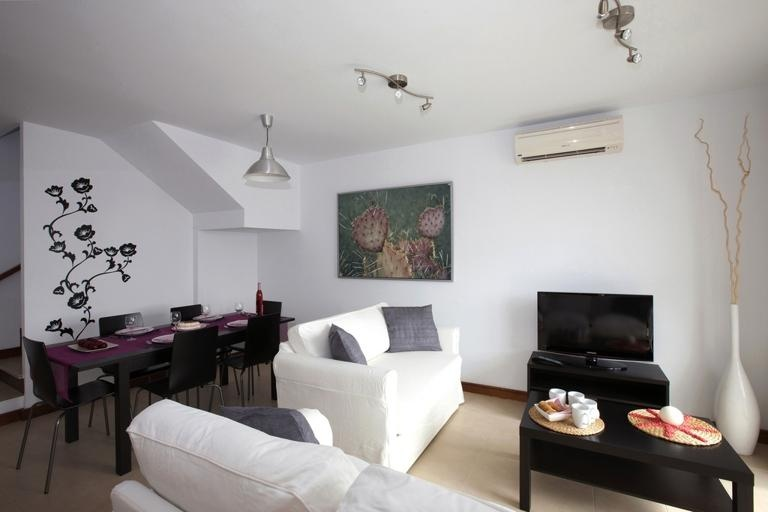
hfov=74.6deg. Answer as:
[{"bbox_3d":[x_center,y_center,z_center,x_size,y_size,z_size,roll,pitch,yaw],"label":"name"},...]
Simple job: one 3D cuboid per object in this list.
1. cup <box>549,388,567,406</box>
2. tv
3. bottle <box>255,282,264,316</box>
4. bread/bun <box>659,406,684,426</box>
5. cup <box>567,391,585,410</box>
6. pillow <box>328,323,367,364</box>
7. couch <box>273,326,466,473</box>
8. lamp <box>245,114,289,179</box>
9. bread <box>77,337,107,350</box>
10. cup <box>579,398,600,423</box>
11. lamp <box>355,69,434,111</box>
[{"bbox_3d":[1.435,1.193,4.236,0.098,0.110,0.150,1,1,-28],"label":"cup"},{"bbox_3d":[2.126,0.756,4.989,0.826,0.476,0.063,-1,-4,20],"label":"tv"},{"bbox_3d":[-1.429,0.499,5.751,0.061,0.341,0.195,-1,-2,-19],"label":"bottle"},{"bbox_3d":[2.282,1.262,4.004,0.129,0.096,0.163,2,1,23],"label":"bread/bun"},{"bbox_3d":[1.577,1.193,4.153,0.130,0.096,0.099,0,-4,2],"label":"cup"},{"bbox_3d":[-0.357,0.842,4.717,0.283,0.423,0.495,-7,2,-6],"label":"pillow"},{"bbox_3d":[-0.016,1.247,5.035,1.270,0.973,1.747,2,6,31],"label":"couch"},{"bbox_3d":[-1.154,-1.088,4.980,0.509,0.588,0.490,-6,15,-39],"label":"lamp"},{"bbox_3d":[-2.593,0.795,4.519,0.133,0.054,0.184,1,-3,28],"label":"bread"},{"bbox_3d":[1.669,1.254,4.083,0.120,0.141,0.196,2,8,5],"label":"cup"},{"bbox_3d":[0.113,-1.515,4.610,0.806,0.213,0.201,11,2,-29],"label":"lamp"}]
